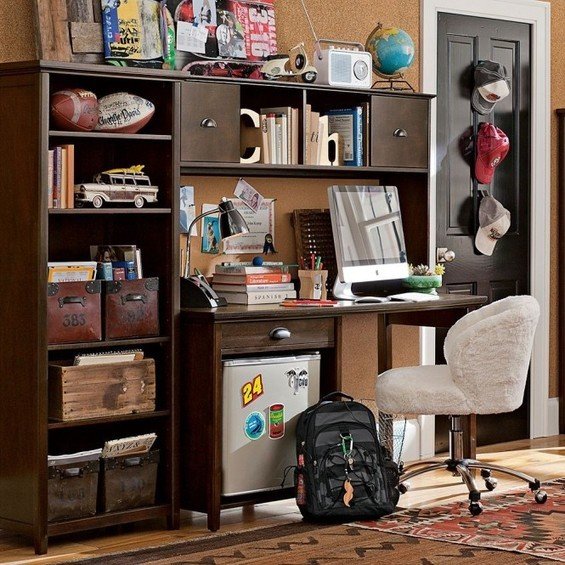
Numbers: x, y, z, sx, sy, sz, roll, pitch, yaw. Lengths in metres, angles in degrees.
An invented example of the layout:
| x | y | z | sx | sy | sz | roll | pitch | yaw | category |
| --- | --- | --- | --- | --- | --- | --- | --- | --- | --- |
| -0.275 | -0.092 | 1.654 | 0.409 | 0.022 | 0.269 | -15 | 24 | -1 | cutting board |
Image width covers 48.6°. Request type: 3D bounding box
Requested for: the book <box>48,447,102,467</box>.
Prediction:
| x | y | z | sx | sy | sz | roll | pitch | yaw | category |
| --- | --- | --- | --- | --- | --- | --- | --- | --- | --- |
| -0.734 | 0.614 | 2.192 | 0.095 | 0.023 | 0.093 | 1 | -3 | -39 | book |

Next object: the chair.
| x | y | z | sx | sy | sz | roll | pitch | yaw | category |
| --- | --- | --- | --- | --- | --- | --- | --- | --- | --- |
| 0.767 | 0.485 | 2.695 | 0.661 | 0.856 | 0.669 | 0 | -2 | 24 | chair |

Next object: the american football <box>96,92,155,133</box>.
| x | y | z | sx | sy | sz | roll | pitch | yaw | category |
| --- | --- | --- | --- | --- | --- | --- | --- | --- | --- |
| -0.563 | -0.602 | 2.236 | 0.183 | 0.109 | 0.121 | -10 | 10 | -25 | american football |

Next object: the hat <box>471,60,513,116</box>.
| x | y | z | sx | sy | sz | roll | pitch | yaw | category |
| --- | --- | --- | --- | --- | --- | --- | --- | --- | --- |
| 1.249 | -1.188 | 3.786 | 0.176 | 0.311 | 0.172 | 3 | -8 | -28 | hat |

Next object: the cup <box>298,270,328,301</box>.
| x | y | z | sx | sy | sz | roll | pitch | yaw | category |
| --- | --- | --- | --- | --- | --- | --- | --- | --- | --- |
| 0.136 | 0.011 | 2.781 | 0.127 | 0.177 | 0.130 | 0 | 4 | 0 | cup |

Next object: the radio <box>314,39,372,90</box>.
| x | y | z | sx | sy | sz | roll | pitch | yaw | category |
| --- | --- | --- | --- | --- | --- | --- | --- | --- | --- |
| 0.284 | -1.002 | 2.898 | 0.296 | 0.223 | 0.113 | -11 | 14 | -38 | radio |

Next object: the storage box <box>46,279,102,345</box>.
| x | y | z | sx | sy | sz | roll | pitch | yaw | category |
| --- | --- | --- | --- | --- | --- | --- | --- | --- | --- |
| -0.704 | 0.088 | 2.117 | 0.228 | 0.223 | 0.177 | 0 | -1 | -41 | storage box |

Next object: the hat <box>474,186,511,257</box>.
| x | y | z | sx | sy | sz | roll | pitch | yaw | category |
| --- | --- | --- | --- | --- | --- | --- | --- | --- | --- |
| 1.287 | -0.370 | 3.844 | 0.179 | 0.405 | 0.149 | -7 | -10 | 41 | hat |

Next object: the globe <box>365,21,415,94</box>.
| x | y | z | sx | sy | sz | roll | pitch | yaw | category |
| --- | --- | --- | --- | --- | --- | --- | --- | --- | --- |
| 0.551 | -1.136 | 3.188 | 0.253 | 0.353 | 0.241 | -2 | 32 | 7 | globe |

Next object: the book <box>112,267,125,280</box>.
| x | y | z | sx | sy | sz | roll | pitch | yaw | category |
| --- | --- | --- | --- | --- | --- | --- | --- | --- | --- |
| -0.605 | -0.030 | 2.294 | 0.043 | 0.053 | 0.028 | 3 | -6 | -37 | book |

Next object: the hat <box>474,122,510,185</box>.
| x | y | z | sx | sy | sz | roll | pitch | yaw | category |
| --- | --- | --- | --- | --- | --- | --- | --- | --- | --- |
| 1.260 | -0.786 | 3.831 | 0.222 | 0.355 | 0.085 | -4 | 14 | -39 | hat |

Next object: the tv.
| x | y | z | sx | sy | sz | roll | pitch | yaw | category |
| --- | --- | --- | --- | --- | --- | --- | --- | --- | --- |
| 0.406 | -0.196 | 2.986 | 0.185 | 0.566 | 0.573 | -12 | -8 | 43 | tv |

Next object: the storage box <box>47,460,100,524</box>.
| x | y | z | sx | sy | sz | roll | pitch | yaw | category |
| --- | --- | --- | --- | --- | --- | --- | --- | --- | --- |
| -0.711 | 0.687 | 2.158 | 0.199 | 0.189 | 0.169 | 2 | -3 | -40 | storage box |

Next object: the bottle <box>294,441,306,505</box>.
| x | y | z | sx | sy | sz | roll | pitch | yaw | category |
| --- | --- | --- | --- | --- | --- | --- | --- | --- | --- |
| 0.068 | 0.711 | 2.324 | 0.048 | 0.239 | 0.042 | -4 | -8 | 23 | bottle |

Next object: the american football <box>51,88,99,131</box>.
| x | y | z | sx | sy | sz | roll | pitch | yaw | category |
| --- | --- | --- | --- | --- | --- | --- | --- | --- | --- |
| -0.694 | -0.572 | 2.088 | 0.110 | 0.131 | 0.173 | -2 | 4 | 5 | american football |
